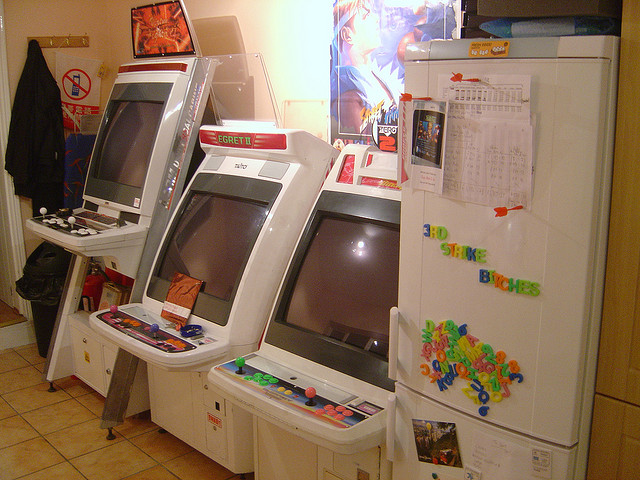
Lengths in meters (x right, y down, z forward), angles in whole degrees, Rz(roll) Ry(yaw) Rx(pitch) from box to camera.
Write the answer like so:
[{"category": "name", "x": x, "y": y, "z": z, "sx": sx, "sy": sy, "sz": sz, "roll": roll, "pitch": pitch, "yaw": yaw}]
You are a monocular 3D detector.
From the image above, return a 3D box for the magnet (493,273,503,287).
[{"category": "magnet", "x": 0.551, "y": 0.122, "z": 1.469, "sx": 0.014, "sy": 0.047, "sz": 0.037, "roll": 6, "pitch": 4, "yaw": -36}]

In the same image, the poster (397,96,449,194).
[{"category": "poster", "x": 0.346, "y": -0.318, "z": 1.569, "sx": 0.038, "sy": 0.374, "sz": 0.264, "roll": -9, "pitch": 16, "yaw": -39}]

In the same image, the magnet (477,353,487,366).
[{"category": "magnet", "x": 0.520, "y": 0.388, "z": 1.525, "sx": 0.008, "sy": 0.031, "sz": 0.032, "roll": 17, "pitch": -8, "yaw": -27}]

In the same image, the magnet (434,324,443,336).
[{"category": "magnet", "x": 0.401, "y": 0.305, "z": 1.607, "sx": 0.008, "sy": 0.031, "sz": 0.031, "roll": 16, "pitch": -14, "yaw": -27}]

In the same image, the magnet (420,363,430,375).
[{"category": "magnet", "x": 0.365, "y": 0.458, "z": 1.650, "sx": 0.007, "sy": 0.032, "sz": 0.032, "roll": 6, "pitch": 39, "yaw": -38}]

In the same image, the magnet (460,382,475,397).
[{"category": "magnet", "x": 0.487, "y": 0.496, "z": 1.564, "sx": 0.012, "sy": 0.043, "sz": 0.042, "roll": 14, "pitch": 10, "yaw": -36}]

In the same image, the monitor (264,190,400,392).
[{"category": "monitor", "x": 0.166, "y": 0.299, "z": 2.204, "sx": 0.636, "sy": 0.926, "sz": 0.505, "roll": 12, "pitch": -24, "yaw": 10}]

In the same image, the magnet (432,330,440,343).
[{"category": "magnet", "x": 0.396, "y": 0.330, "z": 1.614, "sx": 0.007, "sy": 0.027, "sz": 0.021, "roll": 2, "pitch": 18, "yaw": -29}]

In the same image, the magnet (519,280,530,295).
[{"category": "magnet", "x": 0.613, "y": 0.142, "z": 1.425, "sx": 0.009, "sy": 0.050, "sz": 0.039, "roll": -6, "pitch": 8, "yaw": -42}]

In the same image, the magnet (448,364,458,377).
[{"category": "magnet", "x": 0.443, "y": 0.439, "z": 1.585, "sx": 0.008, "sy": 0.036, "sz": 0.034, "roll": 5, "pitch": -9, "yaw": -40}]

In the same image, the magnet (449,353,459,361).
[{"category": "magnet", "x": 0.446, "y": 0.392, "z": 1.581, "sx": 0.006, "sy": 0.024, "sz": 0.025, "roll": 9, "pitch": -6, "yaw": -40}]

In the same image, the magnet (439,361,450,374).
[{"category": "magnet", "x": 0.419, "y": 0.432, "z": 1.602, "sx": 0.009, "sy": 0.036, "sz": 0.037, "roll": -1, "pitch": -5, "yaw": -35}]

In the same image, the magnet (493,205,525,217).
[{"category": "magnet", "x": 0.569, "y": -0.087, "z": 1.428, "sx": 0.012, "sy": 0.026, "sz": 0.082, "roll": -15, "pitch": 0, "yaw": -43}]

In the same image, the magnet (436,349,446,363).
[{"category": "magnet", "x": 0.409, "y": 0.394, "z": 1.607, "sx": 0.009, "sy": 0.037, "sz": 0.035, "roll": 3, "pitch": -12, "yaw": -30}]

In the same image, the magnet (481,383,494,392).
[{"category": "magnet", "x": 0.538, "y": 0.474, "z": 1.524, "sx": 0.033, "sy": 0.033, "sz": 0.009, "roll": 3, "pitch": 6, "yaw": 44}]

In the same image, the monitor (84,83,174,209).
[{"category": "monitor", "x": -1.200, "y": -0.591, "z": 3.196, "sx": 0.485, "sy": 0.994, "sz": 0.559, "roll": -15, "pitch": 22, "yaw": -39}]

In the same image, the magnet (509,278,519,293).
[{"category": "magnet", "x": 0.589, "y": 0.137, "z": 1.442, "sx": 0.008, "sy": 0.050, "sz": 0.037, "roll": -10, "pitch": 15, "yaw": -40}]

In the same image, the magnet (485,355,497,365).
[{"category": "magnet", "x": 0.543, "y": 0.381, "z": 1.507, "sx": 0.024, "sy": 0.025, "sz": 0.006, "roll": 5, "pitch": 8, "yaw": 42}]

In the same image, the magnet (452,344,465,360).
[{"category": "magnet", "x": 0.458, "y": 0.372, "z": 1.568, "sx": 0.008, "sy": 0.036, "sz": 0.034, "roll": -12, "pitch": -23, "yaw": -39}]

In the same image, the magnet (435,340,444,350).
[{"category": "magnet", "x": 0.408, "y": 0.359, "z": 1.604, "sx": 0.005, "sy": 0.023, "sz": 0.023, "roll": 1, "pitch": 4, "yaw": -37}]

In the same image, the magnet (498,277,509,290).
[{"category": "magnet", "x": 0.561, "y": 0.135, "z": 1.461, "sx": 0.031, "sy": 0.034, "sz": 0.033, "roll": 0, "pitch": 5, "yaw": 15}]

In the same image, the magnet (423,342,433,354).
[{"category": "magnet", "x": 0.370, "y": 0.375, "z": 1.640, "sx": 0.007, "sy": 0.034, "sz": 0.032, "roll": 3, "pitch": 11, "yaw": -39}]

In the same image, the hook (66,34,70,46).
[{"category": "hook", "x": -2.283, "y": -1.813, "z": 4.310, "sx": 0.019, "sy": 0.079, "sz": 0.022, "roll": 3, "pitch": 3, "yaw": 15}]

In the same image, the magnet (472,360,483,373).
[{"category": "magnet", "x": 0.507, "y": 0.410, "z": 1.534, "sx": 0.009, "sy": 0.034, "sz": 0.034, "roll": -4, "pitch": 10, "yaw": -42}]

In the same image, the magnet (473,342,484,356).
[{"category": "magnet", "x": 0.510, "y": 0.352, "z": 1.520, "sx": 0.011, "sy": 0.033, "sz": 0.032, "roll": 19, "pitch": -24, "yaw": -33}]

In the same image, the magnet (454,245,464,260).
[{"category": "magnet", "x": 0.450, "y": 0.038, "z": 1.538, "sx": 0.008, "sy": 0.061, "sz": 0.042, "roll": -5, "pitch": 7, "yaw": -43}]

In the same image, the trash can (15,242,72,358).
[{"category": "trash can", "x": -2.194, "y": 0.490, "z": 3.749, "sx": 0.342, "sy": 0.854, "sz": 0.365, "roll": -1, "pitch": 0, "yaw": -3}]

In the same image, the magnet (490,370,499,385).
[{"category": "magnet", "x": 0.551, "y": 0.443, "z": 1.505, "sx": 0.008, "sy": 0.031, "sz": 0.030, "roll": -3, "pitch": 6, "yaw": -19}]

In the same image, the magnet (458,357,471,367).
[{"category": "magnet", "x": 0.478, "y": 0.403, "z": 1.557, "sx": 0.007, "sy": 0.028, "sz": 0.028, "roll": -12, "pitch": -5, "yaw": -45}]

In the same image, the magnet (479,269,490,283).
[{"category": "magnet", "x": 0.516, "y": 0.114, "z": 1.494, "sx": 0.035, "sy": 0.036, "sz": 0.034, "roll": 5, "pitch": -4, "yaw": -37}]

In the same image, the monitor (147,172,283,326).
[{"category": "monitor", "x": -0.497, "y": 0.111, "z": 2.598, "sx": 0.650, "sy": 0.971, "sz": 0.489, "roll": 11, "pitch": -6, "yaw": 26}]

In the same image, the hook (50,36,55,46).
[{"category": "hook", "x": -2.397, "y": -1.796, "z": 4.256, "sx": 0.008, "sy": 0.072, "sz": 0.038, "roll": 10, "pitch": 17, "yaw": 38}]

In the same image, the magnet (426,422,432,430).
[{"category": "magnet", "x": 0.381, "y": 0.656, "z": 1.662, "sx": 0.005, "sy": 0.020, "sz": 0.015, "roll": 5, "pitch": -12, "yaw": -44}]

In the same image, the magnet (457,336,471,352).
[{"category": "magnet", "x": 0.471, "y": 0.342, "z": 1.554, "sx": 0.040, "sy": 0.039, "sz": 0.010, "roll": -42, "pitch": -20, "yaw": 30}]

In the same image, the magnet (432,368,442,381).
[{"category": "magnet", "x": 0.400, "y": 0.460, "z": 1.623, "sx": 0.008, "sy": 0.031, "sz": 0.031, "roll": -15, "pitch": -1, "yaw": -27}]

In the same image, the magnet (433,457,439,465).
[{"category": "magnet", "x": 0.404, "y": 0.778, "z": 1.662, "sx": 0.005, "sy": 0.022, "sz": 0.021, "roll": 1, "pitch": -21, "yaw": -23}]

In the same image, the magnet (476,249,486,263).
[{"category": "magnet", "x": 0.506, "y": 0.049, "z": 1.493, "sx": 0.038, "sy": 0.053, "sz": 0.007, "roll": 5, "pitch": 8, "yaw": 45}]
